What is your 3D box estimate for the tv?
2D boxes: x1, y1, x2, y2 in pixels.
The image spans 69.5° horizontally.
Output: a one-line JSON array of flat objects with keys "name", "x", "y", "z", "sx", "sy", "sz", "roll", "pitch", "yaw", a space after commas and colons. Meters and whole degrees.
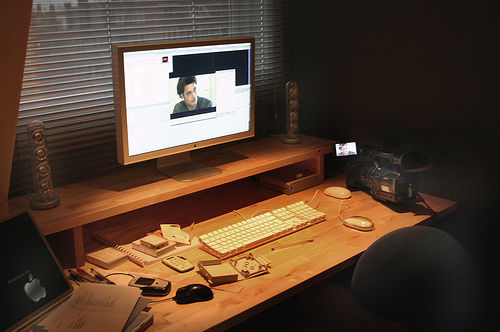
[{"name": "tv", "x": -0.322, "y": -0.275, "z": 1.683, "sx": 0.703, "sy": 0.523, "sz": 0.201, "roll": -18, "pitch": 33, "yaw": -34}]

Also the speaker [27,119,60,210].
[{"name": "speaker", "x": -0.861, "y": -0.005, "z": 1.457, "sx": 0.120, "sy": 0.321, "sz": 0.198, "roll": -15, "pitch": 25, "yaw": -26}]

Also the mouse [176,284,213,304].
[{"name": "mouse", "x": -0.190, "y": 0.446, "z": 1.262, "sx": 0.119, "sy": 0.038, "sz": 0.061, "roll": 0, "pitch": 21, "yaw": -8}]

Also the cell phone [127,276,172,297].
[{"name": "cell phone", "x": -0.356, "y": 0.429, "z": 1.309, "sx": 0.121, "sy": 0.024, "sz": 0.064, "roll": 6, "pitch": 25, "yaw": 13}]

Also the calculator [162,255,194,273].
[{"name": "calculator", "x": -0.283, "y": 0.387, "z": 1.436, "sx": 0.080, "sy": 0.022, "sz": 0.118, "roll": -19, "pitch": 26, "yaw": -37}]

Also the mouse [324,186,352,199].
[{"name": "mouse", "x": 0.471, "y": 0.136, "z": 1.918, "sx": 0.102, "sy": 0.024, "sz": 0.073, "roll": 16, "pitch": 26, "yaw": 42}]
